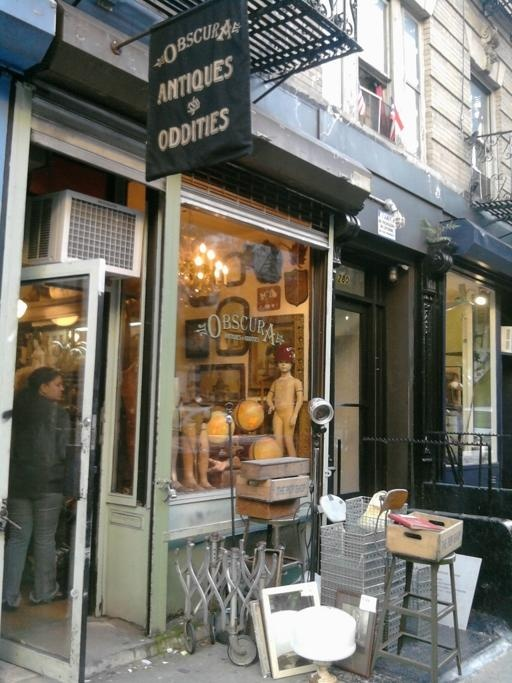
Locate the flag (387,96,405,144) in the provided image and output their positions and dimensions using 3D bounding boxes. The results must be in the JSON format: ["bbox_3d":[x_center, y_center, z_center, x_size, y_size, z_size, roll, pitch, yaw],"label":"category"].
[{"bbox_3d":[1.661,-2.574,7.655,0.080,0.529,0.483,-3,-7,30],"label":"flag"}]

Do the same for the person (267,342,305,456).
[{"bbox_3d":[0.244,0.498,5.576,0.288,0.926,0.297,7,-1,-11],"label":"person"}]

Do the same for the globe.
[{"bbox_3d":[-0.094,0.701,5.066,0.496,0.502,0.453,3,-3,17],"label":"globe"}]

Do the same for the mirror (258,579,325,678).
[{"bbox_3d":[0.221,1.699,3.777,0.426,0.492,0.118,5,-7,-39],"label":"mirror"}]

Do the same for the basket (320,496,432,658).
[{"bbox_3d":[0.802,1.465,4.348,0.506,1.097,0.648,-3,-6,38],"label":"basket"}]
